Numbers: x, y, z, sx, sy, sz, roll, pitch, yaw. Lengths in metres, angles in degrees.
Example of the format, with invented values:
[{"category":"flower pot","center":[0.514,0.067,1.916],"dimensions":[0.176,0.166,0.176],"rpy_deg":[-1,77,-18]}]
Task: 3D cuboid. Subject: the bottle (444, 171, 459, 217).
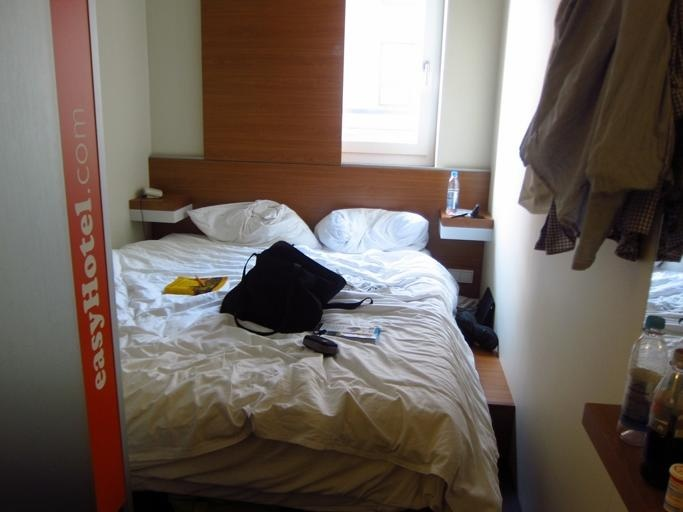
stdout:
[{"category":"bottle","center":[0.697,-0.397,3.328],"dimensions":[0.088,0.263,0.245],"rpy_deg":[5,13,11]}]
